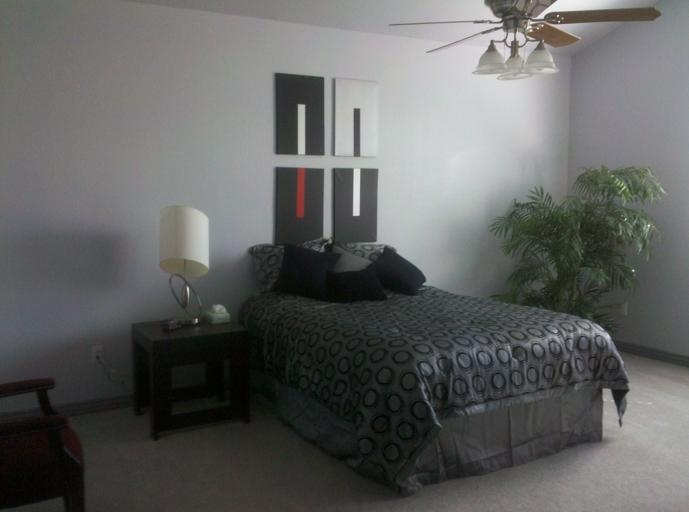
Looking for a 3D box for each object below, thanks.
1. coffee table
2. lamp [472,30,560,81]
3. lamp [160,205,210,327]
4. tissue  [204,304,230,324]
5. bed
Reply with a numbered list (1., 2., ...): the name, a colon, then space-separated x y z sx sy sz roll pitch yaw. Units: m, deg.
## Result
1. coffee table: -1.168 0.844 3.992 0.771 0.791 0.761 1 -2 -22
2. lamp: 1.162 -1.396 3.686 0.553 0.253 0.579 -8 18 -32
3. lamp: -1.226 0.085 4.063 0.362 0.975 0.596 -3 11 -18
4. tissue : -1.005 0.457 4.118 0.155 0.106 0.158 1 -1 -30
5. bed: 0.141 0.701 4.171 1.752 0.760 2.172 -6 10 -36
